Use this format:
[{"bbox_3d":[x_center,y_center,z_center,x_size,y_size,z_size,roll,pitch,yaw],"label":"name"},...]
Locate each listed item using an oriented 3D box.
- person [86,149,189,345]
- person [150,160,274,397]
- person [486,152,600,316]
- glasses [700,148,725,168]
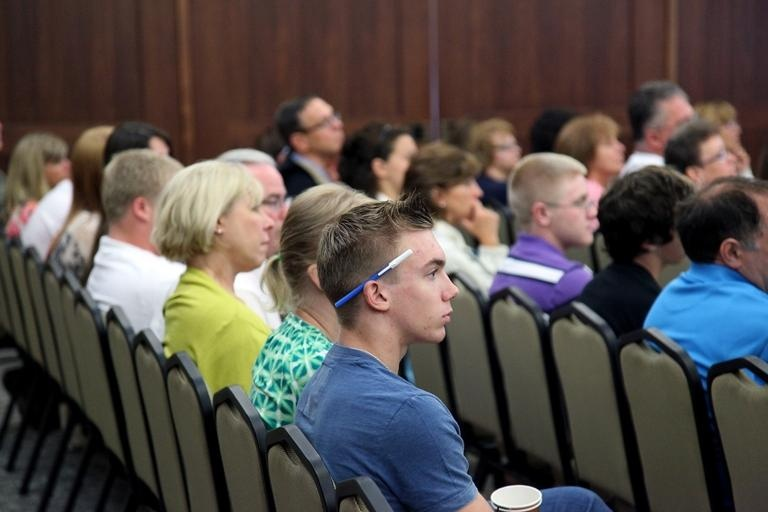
[{"bbox_3d":[-1.261,-0.079,5.081,0.551,0.947,0.967,-1,5,-27],"label":"person"},{"bbox_3d":[-0.779,0.126,4.338,0.472,1.066,0.925,-3,3,-25],"label":"person"},{"bbox_3d":[0.912,-0.103,5.389,0.483,0.943,1.077,-3,5,5],"label":"person"},{"bbox_3d":[1.939,-0.577,5.640,0.176,0.090,0.044,-8,11,-16],"label":"glasses"}]
